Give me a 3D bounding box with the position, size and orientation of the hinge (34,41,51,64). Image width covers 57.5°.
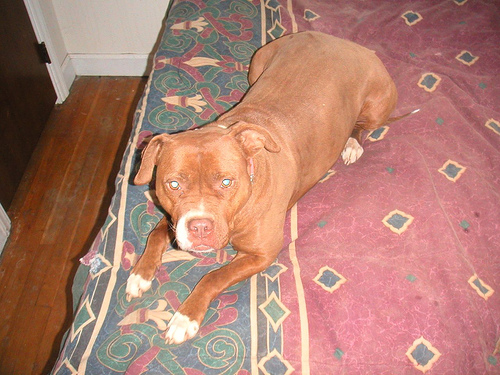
[{"bbox_3d":[-2.565,-1.651,5.629,0.132,0.297,0.123,-27,63,-25],"label":"hinge"}]

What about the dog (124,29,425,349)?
[{"bbox_3d":[0.340,-0.424,3.764,1.326,1.186,3.007,32,68,16],"label":"dog"}]
